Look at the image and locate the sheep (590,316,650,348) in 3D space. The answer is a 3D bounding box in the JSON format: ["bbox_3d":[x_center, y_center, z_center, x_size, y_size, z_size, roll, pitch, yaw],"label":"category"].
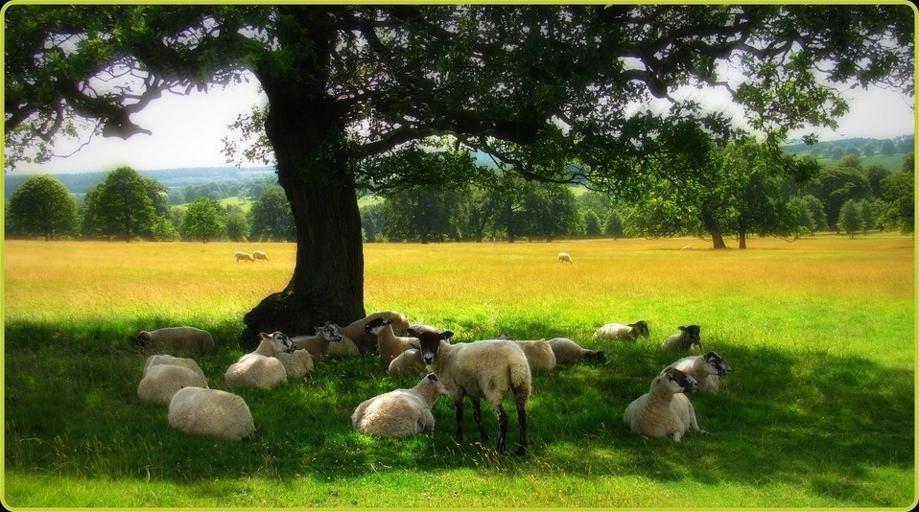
[{"bbox_3d":[7.457,3.517,35.016,2.611,1.126,1.072,-6,-2,13],"label":"sheep"}]

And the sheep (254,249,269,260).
[{"bbox_3d":[-20.929,-0.075,79.116,0.868,0.850,2.276,-1,1,-44],"label":"sheep"}]
